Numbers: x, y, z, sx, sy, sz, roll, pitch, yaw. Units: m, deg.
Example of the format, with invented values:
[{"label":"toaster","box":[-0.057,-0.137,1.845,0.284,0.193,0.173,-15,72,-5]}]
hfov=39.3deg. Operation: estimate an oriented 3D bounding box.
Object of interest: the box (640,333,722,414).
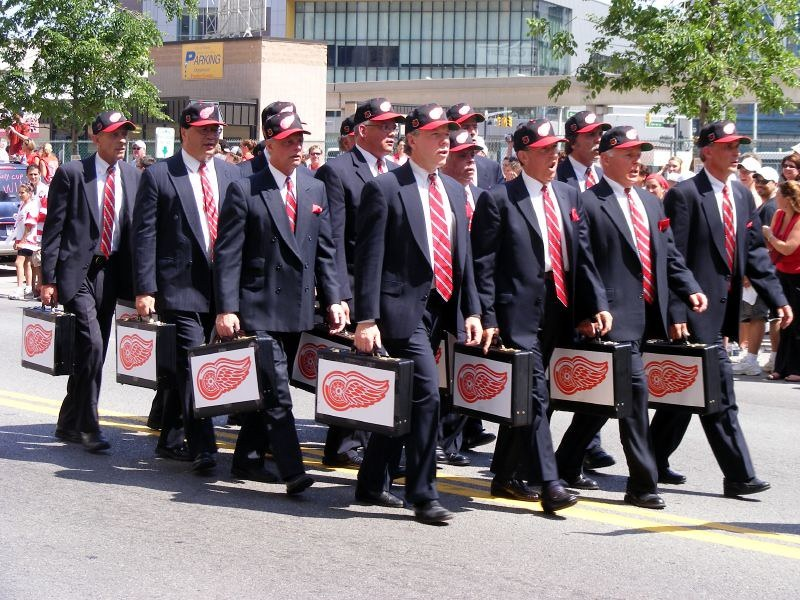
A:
[{"label":"box","box":[2.106,0.575,8.571,0.565,0.515,0.192,1,14,37]}]

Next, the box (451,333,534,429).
[{"label":"box","box":[0.645,0.582,8.062,0.223,0.587,0.626,-8,12,-44]}]

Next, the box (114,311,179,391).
[{"label":"box","box":[-1.965,0.392,8.706,0.621,0.616,0.247,4,3,40]}]

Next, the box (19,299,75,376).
[{"label":"box","box":[-2.941,0.330,9.296,0.506,0.531,0.176,8,7,37]}]

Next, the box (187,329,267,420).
[{"label":"box","box":[-1.249,0.549,8.126,0.615,0.573,0.224,-7,-6,26]}]

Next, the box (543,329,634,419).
[{"label":"box","box":[1.392,0.550,8.296,0.223,0.564,0.607,-1,2,-44]}]
